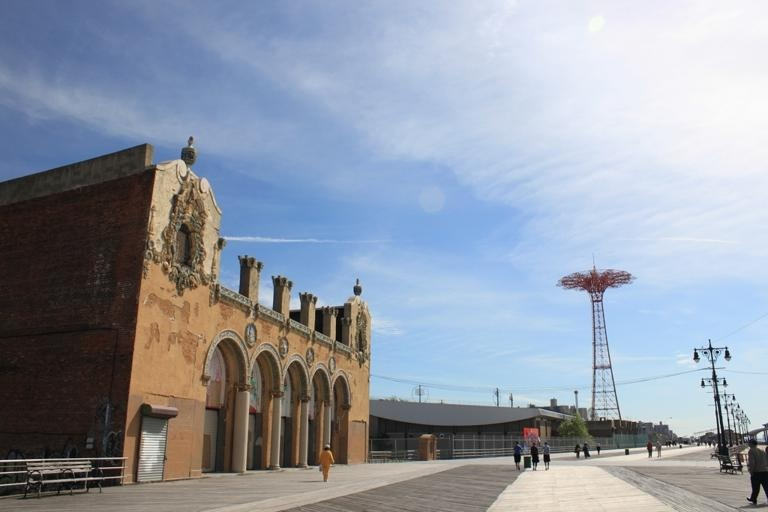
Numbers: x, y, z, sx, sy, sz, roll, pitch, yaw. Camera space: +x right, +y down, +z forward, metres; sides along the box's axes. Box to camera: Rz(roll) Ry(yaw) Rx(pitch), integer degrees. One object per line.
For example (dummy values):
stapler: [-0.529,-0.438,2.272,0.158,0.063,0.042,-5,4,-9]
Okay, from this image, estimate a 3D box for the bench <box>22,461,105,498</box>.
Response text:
bench: [-12.626,9.038,21.416,1.119,1.363,3.218,-6,-21,13]
